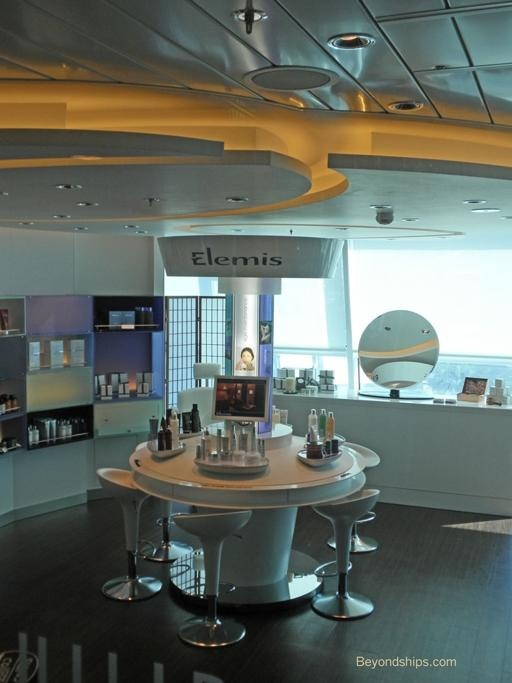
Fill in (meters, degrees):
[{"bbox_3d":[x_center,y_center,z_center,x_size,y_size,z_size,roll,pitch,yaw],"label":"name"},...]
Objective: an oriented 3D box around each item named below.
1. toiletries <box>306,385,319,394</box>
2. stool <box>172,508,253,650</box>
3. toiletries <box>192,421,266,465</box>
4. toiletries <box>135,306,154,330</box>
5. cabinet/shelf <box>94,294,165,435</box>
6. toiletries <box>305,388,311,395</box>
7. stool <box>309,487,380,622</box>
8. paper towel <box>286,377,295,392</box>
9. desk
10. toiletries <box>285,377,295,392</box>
[{"bbox_3d":[0.762,0.645,7.426,0.105,0.069,0.105,-7,10,-44],"label":"toiletries"},{"bbox_3d":[-0.292,1.545,3.679,0.483,0.812,0.427,1,0,-2],"label":"stool"},{"bbox_3d":[-0.191,0.774,3.963,0.414,0.242,0.299,2,-4,-18],"label":"toiletries"},{"bbox_3d":[-1.460,-0.324,7.183,0.236,0.249,0.150,1,0,-12],"label":"toiletries"},{"bbox_3d":[-1.631,0.297,7.110,1.007,1.510,0.562,1,0,-19],"label":"cabinet/shelf"},{"bbox_3d":[0.711,0.668,7.361,0.105,0.093,0.055,-1,2,7],"label":"toiletries"},{"bbox_3d":[0.666,1.571,4.088,0.466,0.915,0.462,1,0,6],"label":"stool"},{"bbox_3d":[0.477,0.591,7.487,0.150,0.190,0.164,1,0,1],"label":"paper towel"},{"bbox_3d":[-0.045,1.335,3.989,1.392,0.702,1.363,2,7,21],"label":"desk"},{"bbox_3d":[0.482,0.591,7.502,0.174,0.181,0.170,-1,-1,20],"label":"toiletries"}]
